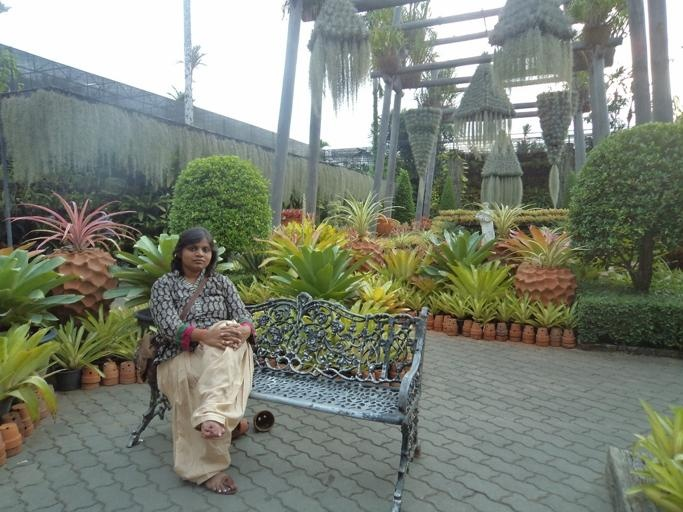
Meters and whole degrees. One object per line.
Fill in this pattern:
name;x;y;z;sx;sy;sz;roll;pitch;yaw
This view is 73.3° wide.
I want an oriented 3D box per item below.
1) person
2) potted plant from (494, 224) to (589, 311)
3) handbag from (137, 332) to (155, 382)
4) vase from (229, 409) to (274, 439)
person;-0.842;0.627;2.931;0.607;1.523;0.813;-5;13;-23
potted plant;2.621;0.156;6.166;1.046;1.112;1.011;2;-2;7
handbag;-1.319;0.692;3.155;0.099;0.283;0.205;4;-10;-5
vase;-0.656;1.258;3.420;0.252;0.154;0.072;-21;11;-27
